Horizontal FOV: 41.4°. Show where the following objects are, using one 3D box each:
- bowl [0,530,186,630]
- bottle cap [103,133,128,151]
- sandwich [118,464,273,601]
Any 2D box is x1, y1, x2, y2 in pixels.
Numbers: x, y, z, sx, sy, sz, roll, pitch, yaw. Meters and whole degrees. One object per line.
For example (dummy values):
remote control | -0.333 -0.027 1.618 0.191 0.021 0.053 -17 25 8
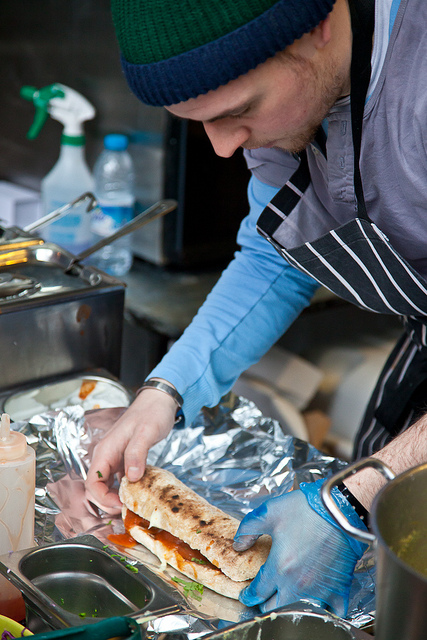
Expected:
bowl | -0.181 0.356 0.766 0.136 0.040 0.186 -4 17 -32
bottle cap | -0.362 -0.658 2.086 0.072 0.039 0.070 20 33 24
sandwich | -0.031 0.370 1.015 0.325 0.107 0.153 14 12 42
